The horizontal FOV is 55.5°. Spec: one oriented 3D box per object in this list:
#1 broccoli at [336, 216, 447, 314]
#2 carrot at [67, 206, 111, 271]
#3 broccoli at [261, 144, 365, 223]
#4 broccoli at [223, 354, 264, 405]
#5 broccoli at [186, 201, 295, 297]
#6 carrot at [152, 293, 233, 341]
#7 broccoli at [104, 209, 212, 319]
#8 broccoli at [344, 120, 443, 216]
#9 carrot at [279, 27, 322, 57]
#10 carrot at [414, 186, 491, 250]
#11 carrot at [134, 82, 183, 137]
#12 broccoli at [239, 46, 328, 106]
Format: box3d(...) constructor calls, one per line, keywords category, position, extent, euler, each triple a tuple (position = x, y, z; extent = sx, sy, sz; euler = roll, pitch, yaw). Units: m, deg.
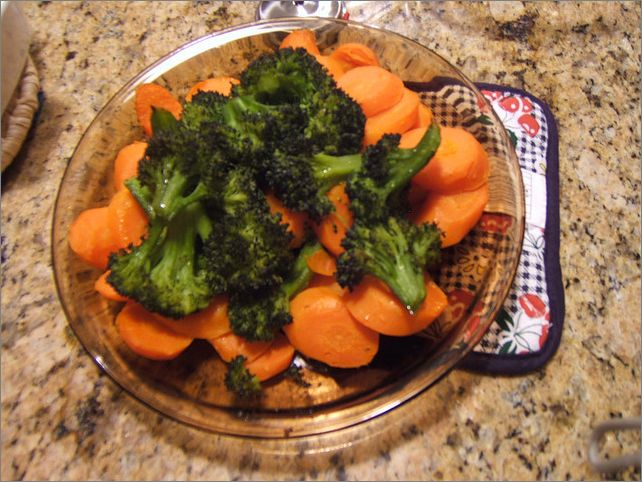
box3d(category="broccoli", position=(0.238, 0.032, 1.958), extent=(0.458, 0.383, 0.214), euler=(6, 96, 39))
box3d(category="carrot", position=(-0.748, -0.004, 2.011), extent=(0.167, 0.073, 0.190), euler=(-15, 84, 1))
box3d(category="broccoli", position=(0.003, -0.178, 1.972), extent=(0.257, 0.125, 0.174), euler=(-25, 72, -2))
box3d(category="broccoli", position=(-0.252, 0.439, 1.928), extent=(0.127, 0.060, 0.130), euler=(32, 86, 2))
box3d(category="broccoli", position=(-0.249, 0.038, 1.962), extent=(0.313, 0.124, 0.252), euler=(-9, 82, -1))
box3d(category="carrot", position=(-0.395, 0.268, 1.963), extent=(0.150, 0.049, 0.162), euler=(-20, 50, -32))
box3d(category="broccoli", position=(-0.503, 0.096, 1.987), extent=(0.310, 0.098, 0.359), euler=(-6, 85, -8))
box3d(category="broccoli", position=(0.211, -0.213, 1.895), extent=(0.204, 0.122, 0.330), euler=(9, 82, 13))
box3d(category="carrot", position=(-0.070, -0.694, 2.156), extent=(0.127, 0.076, 0.125), euler=(6, 98, 19))
box3d(category="carrot", position=(0.422, -0.082, 2.014), extent=(0.209, 0.089, 0.173), euler=(-35, 87, -1))
box3d(category="carrot", position=(-0.572, -0.448, 2.175), extent=(0.138, 0.026, 0.266), euler=(-22, 76, -7))
box3d(category="broccoli", position=(-0.133, -0.531, 1.998), extent=(0.211, 0.213, 0.110), euler=(-16, 68, 5))
